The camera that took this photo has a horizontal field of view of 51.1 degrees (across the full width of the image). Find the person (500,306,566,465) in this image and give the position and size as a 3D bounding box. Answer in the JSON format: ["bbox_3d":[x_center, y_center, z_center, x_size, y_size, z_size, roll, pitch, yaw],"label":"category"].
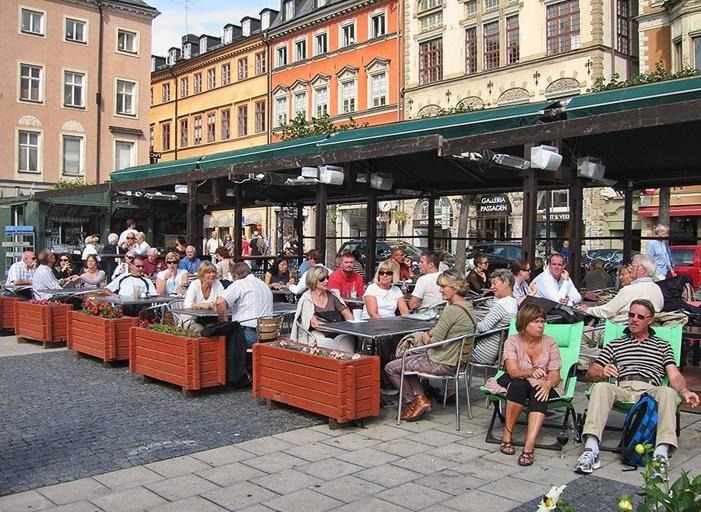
[{"bbox_3d":[2.086,1.426,8.436,0.654,1.626,0.905,3,9,15],"label":"person"}]

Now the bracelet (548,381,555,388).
[{"bbox_3d":[2.315,1.468,8.406,0.083,0.022,0.078,36,-25,-22],"label":"bracelet"}]

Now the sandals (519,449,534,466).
[{"bbox_3d":[1.960,2.227,8.124,0.142,0.107,0.366,-2,-7,15],"label":"sandals"}]

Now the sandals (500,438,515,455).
[{"bbox_3d":[1.814,2.170,8.418,0.164,0.158,0.141,2,9,9],"label":"sandals"}]

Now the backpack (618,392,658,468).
[{"bbox_3d":[3.197,1.914,8.104,0.360,0.774,0.467,8,12,43],"label":"backpack"}]

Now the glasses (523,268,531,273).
[{"bbox_3d":[2.896,0.235,11.916,0.075,0.066,0.058,26,-6,3],"label":"glasses"}]

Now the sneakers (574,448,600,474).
[{"bbox_3d":[2.597,2.216,7.976,0.329,0.211,0.249,0,8,-3],"label":"sneakers"}]

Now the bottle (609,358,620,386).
[{"bbox_3d":[3.143,1.377,8.656,0.080,0.239,0.172,-2,-1,30],"label":"bottle"}]

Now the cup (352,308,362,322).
[{"bbox_3d":[0.116,0.809,10.020,0.143,0.158,0.140,0,2,0],"label":"cup"}]

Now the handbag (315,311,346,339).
[{"bbox_3d":[-0.292,0.965,10.499,0.384,0.156,0.393,19,12,37],"label":"handbag"}]
